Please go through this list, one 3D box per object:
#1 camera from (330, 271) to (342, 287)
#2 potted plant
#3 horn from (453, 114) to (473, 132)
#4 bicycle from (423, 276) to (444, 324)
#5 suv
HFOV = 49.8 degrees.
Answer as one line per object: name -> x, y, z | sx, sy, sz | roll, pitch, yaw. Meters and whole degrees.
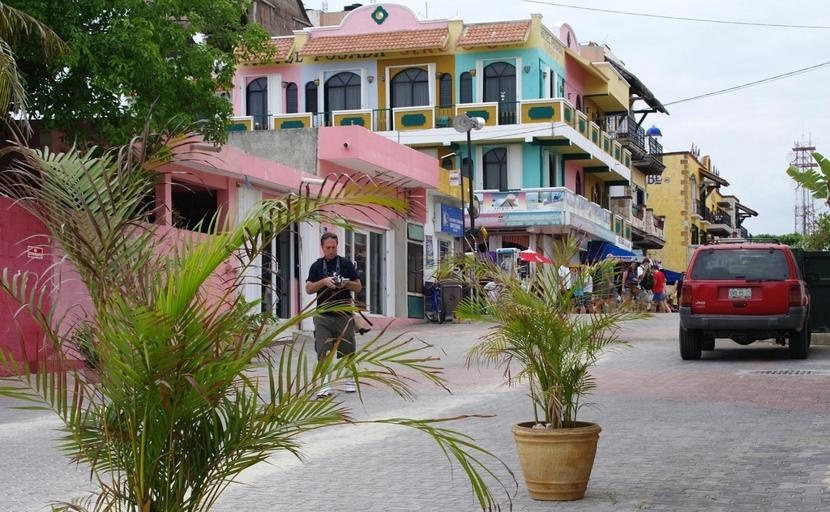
camera -> -1.058, 0.309, 12.150 | 0.153, 0.222, 0.094 | 12, 37, 25
potted plant -> 1.279, 1.015, 9.154 | 1.681, 2.591, 1.413 | 0, -3, 12
horn -> 1.926, -5.117, 34.524 | 0.852, 0.887, 0.223 | 0, 2, 34
bicycle -> 0.605, 1.504, 30.857 | 0.965, 1.131, 1.728 | 1, 2, -5
suv -> 6.251, 0.757, 17.261 | 1.619, 1.479, 3.034 | -1, 4, 15
